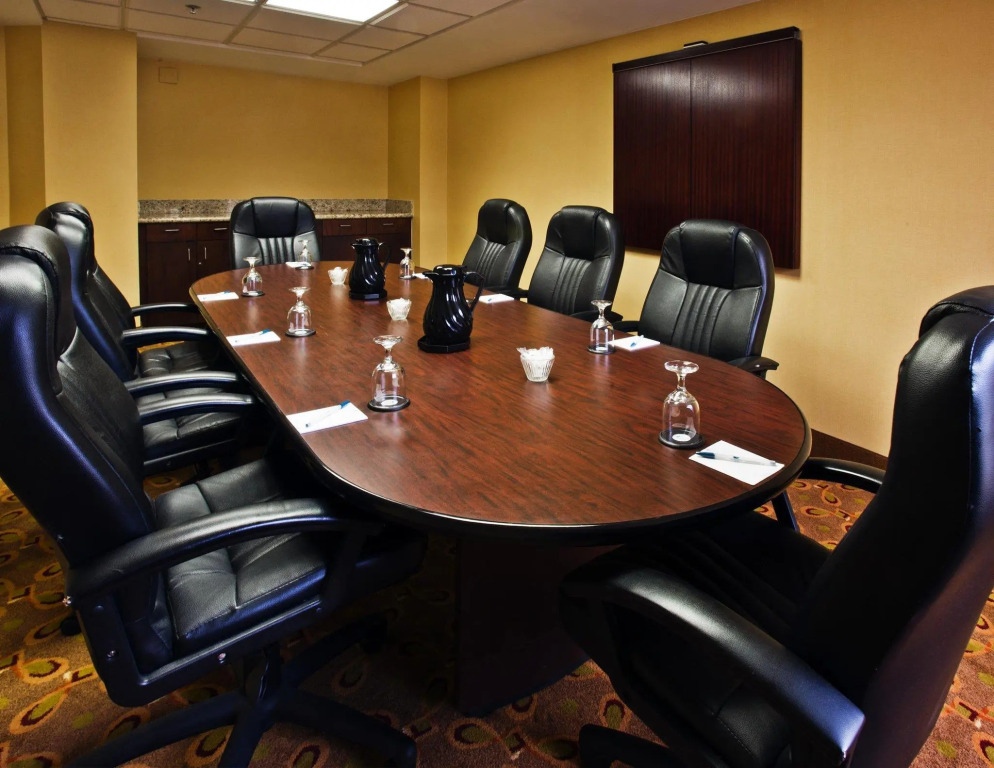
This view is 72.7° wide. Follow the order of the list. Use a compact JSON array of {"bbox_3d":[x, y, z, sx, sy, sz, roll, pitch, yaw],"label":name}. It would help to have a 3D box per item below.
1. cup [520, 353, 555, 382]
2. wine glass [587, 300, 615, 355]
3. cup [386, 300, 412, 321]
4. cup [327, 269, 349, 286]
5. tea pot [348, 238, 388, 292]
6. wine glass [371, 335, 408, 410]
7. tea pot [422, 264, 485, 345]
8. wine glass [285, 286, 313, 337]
[{"bbox_3d":[0.122,-0.047,1.909,0.078,0.060,0.080,-1,7,0],"label":"cup"},{"bbox_3d":[0.363,-0.189,2.249,0.100,0.183,0.103,2,18,35],"label":"wine glass"},{"bbox_3d":[-0.390,-0.301,2.693,0.081,0.070,0.090,-2,13,0],"label":"cup"},{"bbox_3d":[-0.822,-0.556,3.505,0.102,0.086,0.108,0,13,0],"label":"cup"},{"bbox_3d":[-0.590,-0.541,3.150,0.200,0.272,0.185,2,17,-1],"label":"tea pot"},{"bbox_3d":[-0.283,-0.024,1.751,0.102,0.185,0.101,-9,19,-40],"label":"wine glass"},{"bbox_3d":[-0.141,-0.262,2.253,0.216,0.262,0.158,-4,13,-22],"label":"tea pot"},{"bbox_3d":[-0.727,-0.262,2.484,0.114,0.165,0.124,9,11,27],"label":"wine glass"}]
